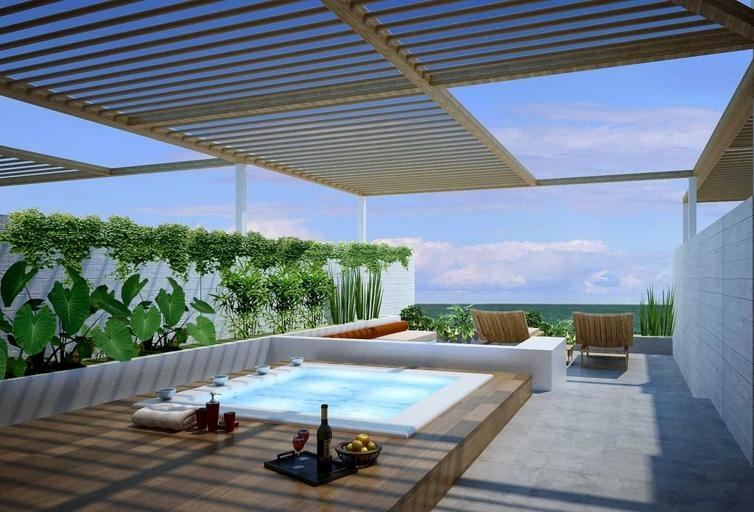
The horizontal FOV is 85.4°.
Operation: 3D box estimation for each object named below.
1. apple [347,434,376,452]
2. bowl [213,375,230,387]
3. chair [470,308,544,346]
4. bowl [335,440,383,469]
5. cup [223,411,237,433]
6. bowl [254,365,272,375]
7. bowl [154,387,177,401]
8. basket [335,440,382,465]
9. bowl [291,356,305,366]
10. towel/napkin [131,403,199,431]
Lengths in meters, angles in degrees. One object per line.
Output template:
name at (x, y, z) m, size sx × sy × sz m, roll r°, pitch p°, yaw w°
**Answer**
apple at (-0.100, 1.474, 3.223) m, size 0.173 × 0.067 × 0.136 m, roll 2°, pitch -1°, yaw -36°
bowl at (-2.035, 1.670, 5.530) m, size 0.196 × 0.088 × 0.184 m, roll -2°, pitch -11°, yaw 0°
chair at (2.626, 1.504, 8.574) m, size 0.889 × 0.580 × 1.259 m, roll -2°, pitch -7°, yaw 31°
bowl at (-0.138, 1.554, 3.237) m, size 0.363 × 0.158 × 0.249 m, roll 0°, pitch -1°, yaw -4°
cup at (-1.395, 1.594, 3.950) m, size 0.093 × 0.177 × 0.061 m, roll 1°, pitch -1°, yaw -32°
bowl at (-1.694, 1.691, 6.112) m, size 0.185 × 0.078 × 0.171 m, roll -1°, pitch -3°, yaw 0°
bowl at (-2.463, 1.607, 4.808) m, size 0.193 × 0.088 × 0.180 m, roll -2°, pitch -6°, yaw 0°
basket at (-0.142, 1.537, 3.188) m, size 0.248 × 0.064 × 0.212 m, roll -1°, pitch 0°, yaw 5°
bowl at (-1.268, 1.713, 6.700) m, size 0.163 × 0.081 × 0.156 m, roll -3°, pitch -4°, yaw 0°
towel/napkin at (-2.074, 1.600, 4.100) m, size 0.444 × 0.102 × 0.425 m, roll -1°, pitch -3°, yaw 30°
